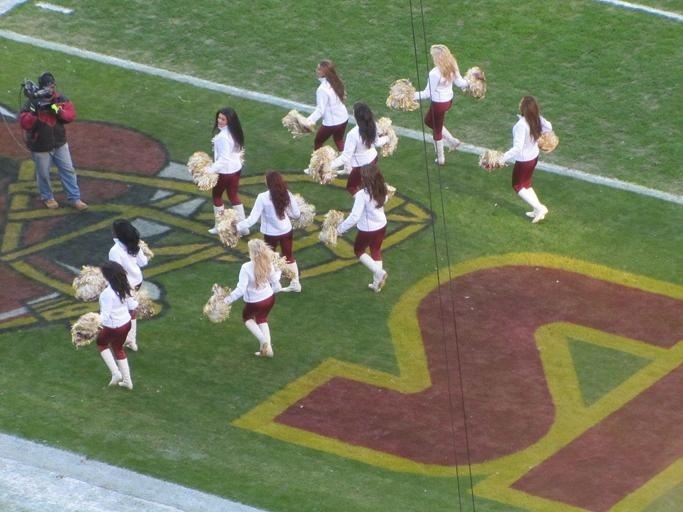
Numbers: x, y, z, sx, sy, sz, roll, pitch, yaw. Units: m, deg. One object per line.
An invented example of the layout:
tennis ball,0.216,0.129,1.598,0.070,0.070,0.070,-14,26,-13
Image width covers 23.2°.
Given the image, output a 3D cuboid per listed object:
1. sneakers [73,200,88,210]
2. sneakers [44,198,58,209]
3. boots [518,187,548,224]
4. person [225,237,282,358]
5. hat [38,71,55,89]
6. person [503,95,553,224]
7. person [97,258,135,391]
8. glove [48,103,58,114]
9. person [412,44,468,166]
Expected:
sneakers,-4.692,-0.894,29.551,0.254,0.084,0.128,14,34,44
sneakers,-5.232,-0.917,29.560,0.154,0.086,0.258,-16,20,-35
boots,3.473,-0.878,30.209,0.629,0.624,0.331,39,72,0
person,-1.463,0.654,26.948,0.848,2.085,0.673,8,33,7
hat,-5.190,-3.028,28.795,0.289,0.280,0.308,2,28,-14
person,3.375,-1.805,29.932,0.971,2.357,1.035,7,32,5
person,-3.608,1.124,26.329,0.653,2.095,0.715,0,33,-6
glove,-5.021,-2.537,28.734,0.172,0.096,0.146,23,68,17
person,1.884,-2.888,31.034,0.916,2.426,1.332,7,32,5
